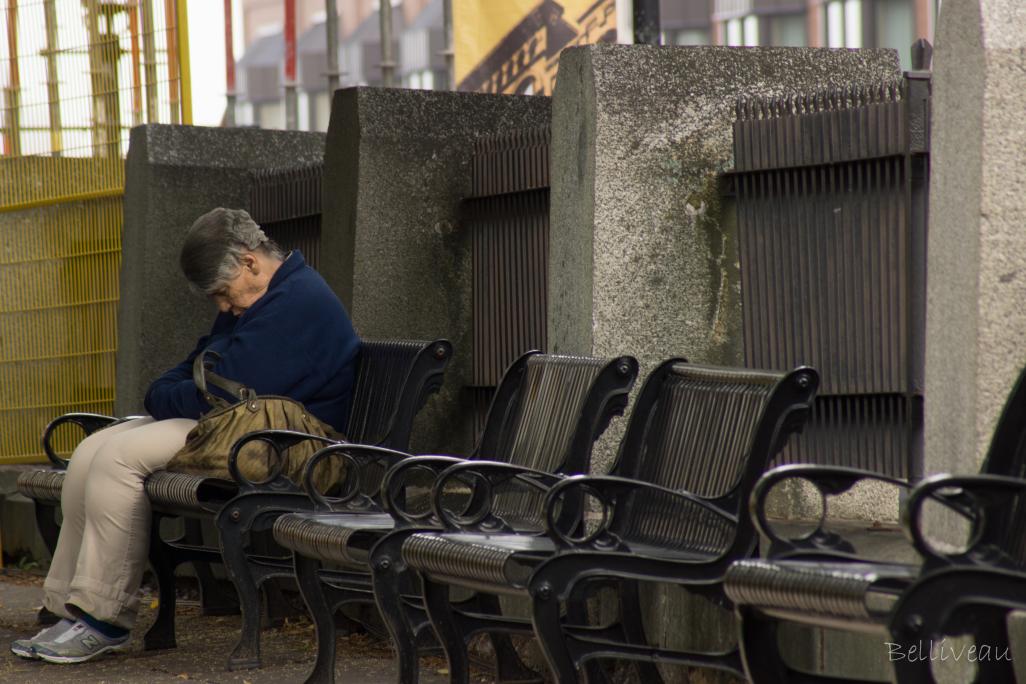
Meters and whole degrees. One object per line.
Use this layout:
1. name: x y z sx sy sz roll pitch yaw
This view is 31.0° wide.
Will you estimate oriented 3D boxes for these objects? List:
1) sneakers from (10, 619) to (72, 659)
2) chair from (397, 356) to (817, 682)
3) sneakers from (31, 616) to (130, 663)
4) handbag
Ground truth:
1. sneakers: -2.392 1.498 9.394 0.379 0.174 0.144 3 -3 -5
2. chair: 0.516 0.723 8.298 1.643 1.664 1.318 3 -5 -31
3. sneakers: -2.181 1.497 9.382 0.436 0.211 0.172 1 2 -23
4. handbag: -1.277 0.505 9.462 0.691 0.289 0.491 3 -3 -44
